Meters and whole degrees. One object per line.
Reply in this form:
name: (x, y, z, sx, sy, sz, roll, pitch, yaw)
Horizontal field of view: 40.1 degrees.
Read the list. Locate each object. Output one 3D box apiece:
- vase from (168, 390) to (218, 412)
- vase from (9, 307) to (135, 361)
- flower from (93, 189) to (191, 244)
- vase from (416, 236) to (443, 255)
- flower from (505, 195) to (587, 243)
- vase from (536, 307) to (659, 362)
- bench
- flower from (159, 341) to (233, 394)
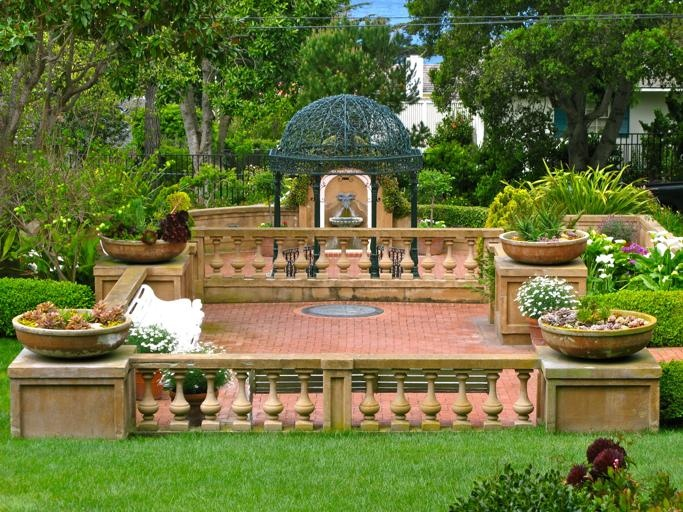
vase: (-1.706, 1.581, 10.506, 0.391, 0.260, 0.420, 1, 1, 2)
vase: (-2.714, 0.756, 9.561, 1.146, 0.580, 0.634, -1, -1, -15)
flower: (-2.973, -0.525, 14.595, 1.345, 0.734, 1.388, -1, 5, 20)
vase: (2.257, -0.231, 23.689, 0.523, 0.444, 0.525, 2, 2, -2)
flower: (3.126, -0.512, 13.817, 0.542, 0.543, 0.937, -1, -14, 3)
vase: (2.579, 0.792, 9.441, 0.665, 0.254, 0.699, -4, 5, 2)
bench: (-2.304, 0.823, 12.579, 0.673, 0.238, 1.123, 3, 20, -2)
flower: (-1.810, 1.307, 10.567, 0.759, 0.468, 0.845, -3, -4, 0)
